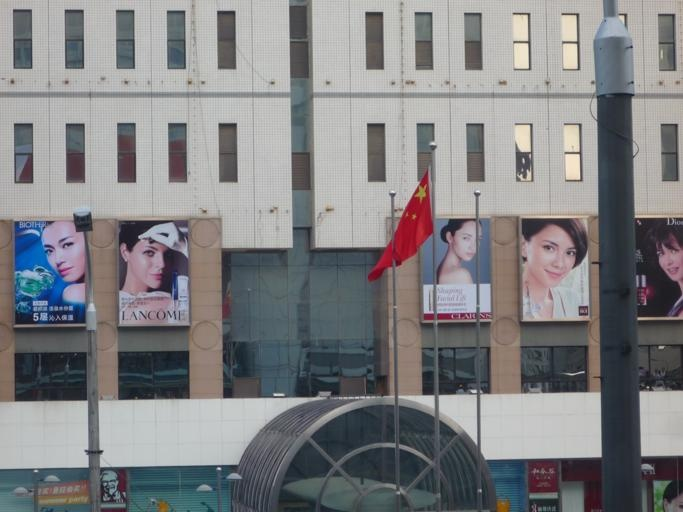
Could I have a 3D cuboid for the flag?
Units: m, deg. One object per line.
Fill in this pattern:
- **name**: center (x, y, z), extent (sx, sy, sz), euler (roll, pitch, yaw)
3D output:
- **flag**: center (2.445, -1.259, 91.616), extent (2.423, 3.878, 0.783), euler (-7, -8, 33)
